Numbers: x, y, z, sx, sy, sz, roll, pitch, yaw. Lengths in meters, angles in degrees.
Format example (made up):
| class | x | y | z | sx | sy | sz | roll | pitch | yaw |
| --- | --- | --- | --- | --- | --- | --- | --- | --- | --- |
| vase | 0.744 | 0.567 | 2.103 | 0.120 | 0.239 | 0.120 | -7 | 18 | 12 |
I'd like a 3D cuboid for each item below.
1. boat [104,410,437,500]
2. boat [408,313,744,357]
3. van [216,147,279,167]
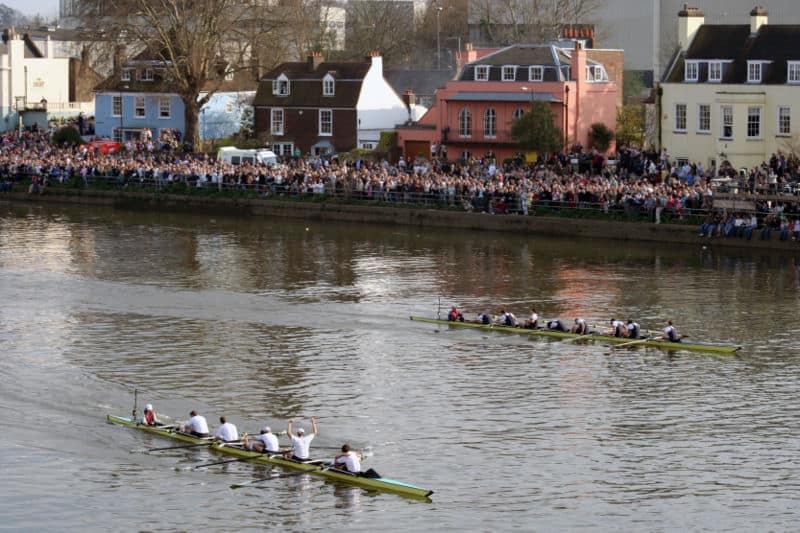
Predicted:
| class | x | y | z | sx | sy | sz | roll | pitch | yaw |
| --- | --- | --- | --- | --- | --- | --- | --- | --- | --- |
| boat | -6.413 | 10.332 | 104.259 | 16.977 | 3.157 | 0.708 | 1 | 3 | 18 |
| boat | 11.222 | 4.210 | 116.377 | 18.731 | 1.514 | 0.955 | 1 | 3 | 16 |
| van | -12.367 | -8.581 | 155.560 | 3.425 | 1.790 | 2.097 | 0 | 5 | 17 |
